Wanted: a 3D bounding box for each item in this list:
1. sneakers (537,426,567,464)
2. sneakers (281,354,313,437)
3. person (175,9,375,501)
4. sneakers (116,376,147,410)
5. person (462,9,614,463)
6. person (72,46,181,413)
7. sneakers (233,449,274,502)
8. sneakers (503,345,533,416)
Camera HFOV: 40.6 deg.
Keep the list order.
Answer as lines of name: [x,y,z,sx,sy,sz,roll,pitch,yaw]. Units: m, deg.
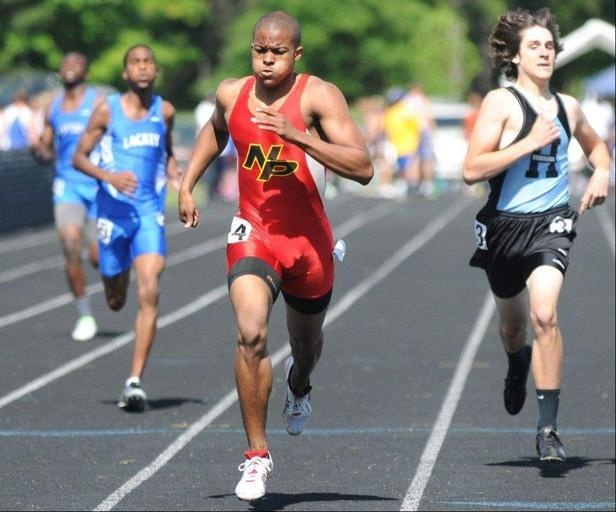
sneakers: [1.145,0.887,3.895,0.077,0.108,0.226,0,-3,1]
sneakers: [-0.064,0.756,4.425,0.135,0.464,0.184,-2,15,-9]
person: [-0.146,0.032,3.779,0.819,2.256,1.041,0,6,-10]
sneakers: [-1.097,0.878,5.167,0.138,0.251,0.166,14,-25,-34]
person: [1.137,-0.082,4.249,0.701,2.352,0.956,4,7,24]
person: [-1.246,-0.255,5.563,0.669,2.286,1.179,1,6,2]
sneakers: [-0.230,0.904,3.480,0.103,0.117,0.277,-1,20,9]
sneakers: [1.230,0.706,4.876,0.130,0.447,0.180,9,12,21]
